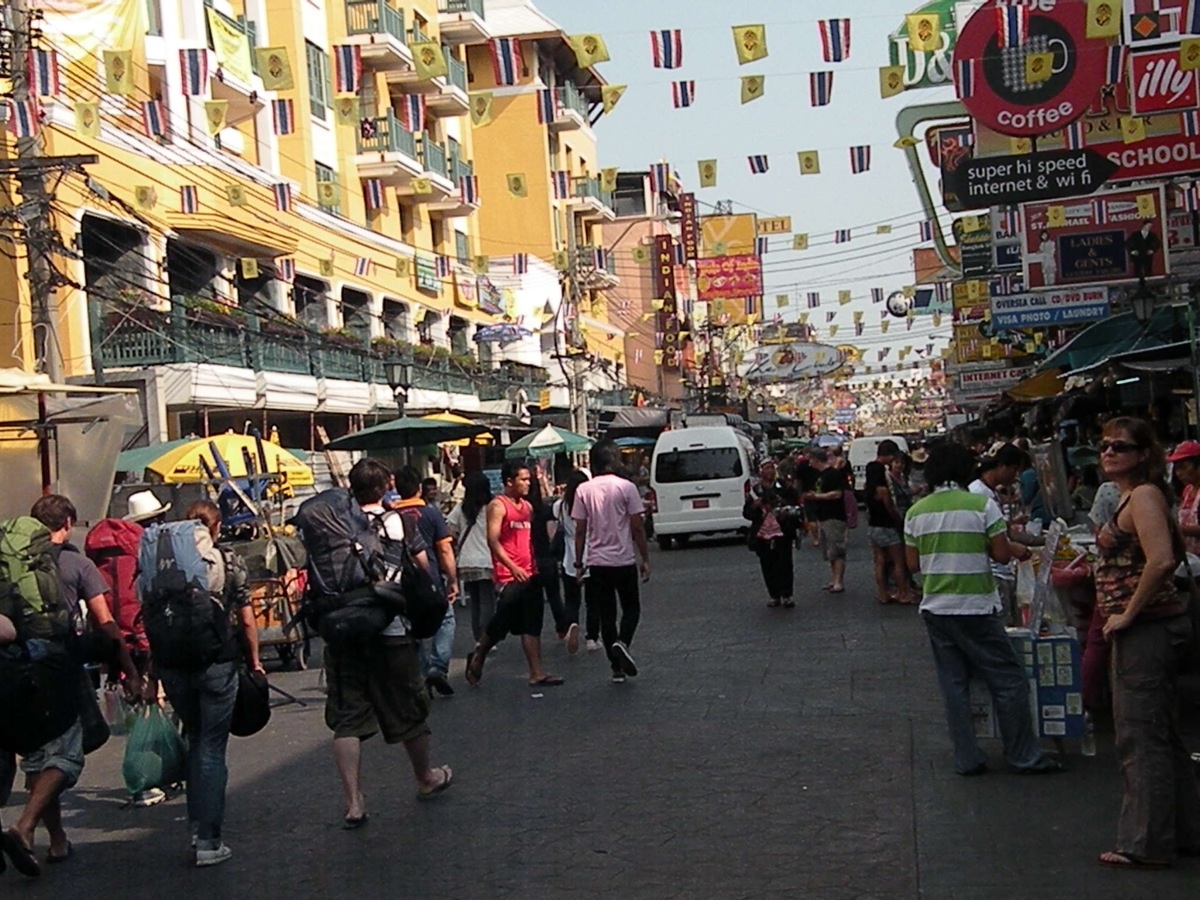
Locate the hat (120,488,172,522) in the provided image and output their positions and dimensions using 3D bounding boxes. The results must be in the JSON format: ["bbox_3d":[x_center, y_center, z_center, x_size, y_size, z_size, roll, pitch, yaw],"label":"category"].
[{"bbox_3d":[-5.976,0.744,17.226,0.646,0.257,0.581,-17,6,36],"label":"hat"}]

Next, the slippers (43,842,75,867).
[{"bbox_3d":[-3.527,2.656,8.552,0.071,0.086,0.215,1,1,6],"label":"slippers"}]

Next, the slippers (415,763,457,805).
[{"bbox_3d":[-1.169,2.320,9.229,0.127,0.214,0.313,2,38,42],"label":"slippers"}]

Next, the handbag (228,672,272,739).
[{"bbox_3d":[-2.389,1.751,8.941,0.263,0.436,0.521,-6,2,-17],"label":"handbag"}]

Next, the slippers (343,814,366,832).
[{"bbox_3d":[-1.604,2.463,8.632,0.131,0.093,0.070,8,-10,2],"label":"slippers"}]

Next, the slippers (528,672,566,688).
[{"bbox_3d":[-0.502,2.280,12.924,0.352,0.146,0.129,-1,-2,-7],"label":"slippers"}]

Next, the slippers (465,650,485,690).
[{"bbox_3d":[-1.234,2.190,13.122,0.167,0.487,0.179,1,4,1],"label":"slippers"}]

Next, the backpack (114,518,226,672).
[{"bbox_3d":[-2.752,0.975,8.657,0.603,0.971,0.470,-6,2,0],"label":"backpack"}]

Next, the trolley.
[{"bbox_3d":[-4.159,1.778,16.035,1.046,1.615,1.176,-5,-5,44],"label":"trolley"}]

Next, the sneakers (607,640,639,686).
[{"bbox_3d":[0.235,2.095,12.812,0.192,0.468,0.201,-7,36,29],"label":"sneakers"}]

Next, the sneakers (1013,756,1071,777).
[{"bbox_3d":[3.047,2.157,8.966,0.358,0.169,0.141,-4,6,-2],"label":"sneakers"}]

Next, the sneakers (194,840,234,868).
[{"bbox_3d":[-2.400,2.524,8.200,0.104,0.119,0.274,1,1,19],"label":"sneakers"}]

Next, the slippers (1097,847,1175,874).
[{"bbox_3d":[2.909,2.214,7.129,0.328,0.092,0.133,4,-6,11],"label":"slippers"}]

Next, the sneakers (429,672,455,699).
[{"bbox_3d":[-1.567,2.310,12.807,0.170,0.295,0.270,1,11,22],"label":"sneakers"}]
